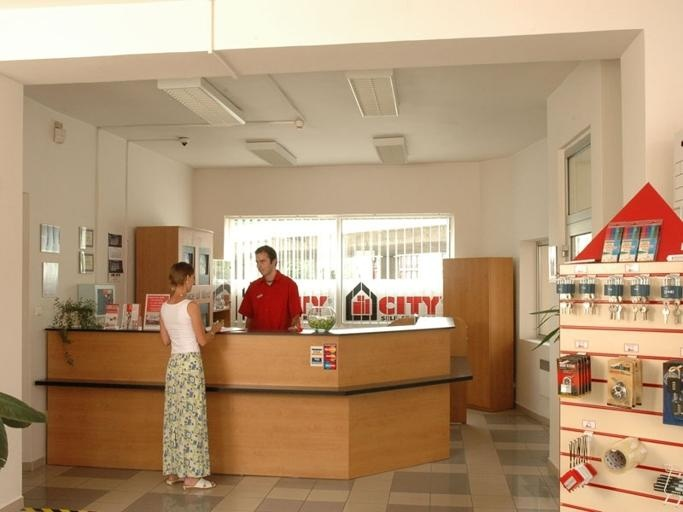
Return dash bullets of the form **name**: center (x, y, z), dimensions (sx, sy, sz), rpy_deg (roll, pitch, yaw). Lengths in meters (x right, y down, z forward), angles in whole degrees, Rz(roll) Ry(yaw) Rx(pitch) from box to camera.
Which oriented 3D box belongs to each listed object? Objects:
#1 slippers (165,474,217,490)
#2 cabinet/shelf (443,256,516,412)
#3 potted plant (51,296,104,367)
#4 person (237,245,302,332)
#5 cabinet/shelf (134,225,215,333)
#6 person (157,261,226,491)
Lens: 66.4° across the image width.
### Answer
- **slippers**: center (-1.409, 2.115, 4.854), dimensions (0.398, 0.106, 0.185), rpy_deg (0, -2, -7)
- **cabinet/shelf**: center (2.086, 1.152, 7.800), dimensions (1.033, 2.231, 0.472), rpy_deg (0, -1, 15)
- **potted plant**: center (-2.957, 0.885, 5.766), dimensions (0.570, 0.712, 0.484), rpy_deg (-14, -32, 29)
- **person**: center (-0.763, 0.347, 5.570), dimensions (0.674, 0.875, 0.361), rpy_deg (0, -1, -4)
- **cabinet/shelf**: center (-2.558, 0.062, 7.693), dimensions (1.017, 1.034, 0.333), rpy_deg (3, 7, 41)
- **person**: center (-1.404, 1.108, 4.845), dimensions (0.474, 2.083, 0.458), rpy_deg (1, -2, -38)
